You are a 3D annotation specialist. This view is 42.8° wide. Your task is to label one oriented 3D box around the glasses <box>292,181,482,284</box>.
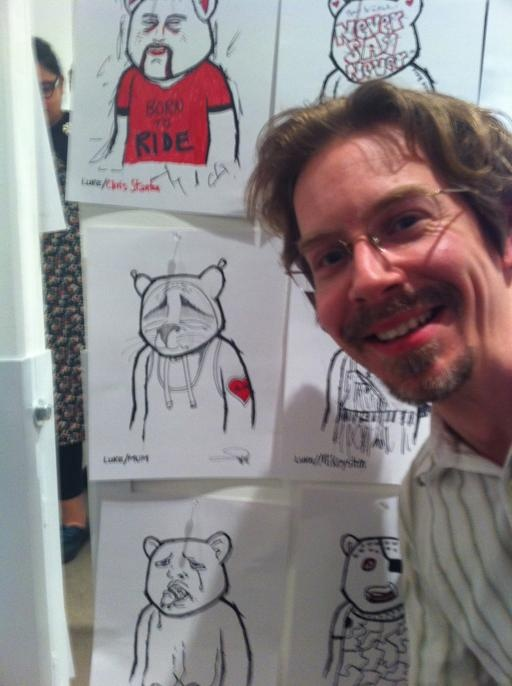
[{"bbox_3d":[0.151,-0.127,0.764,0.202,0.114,0.071,2,9,19],"label":"glasses"}]
